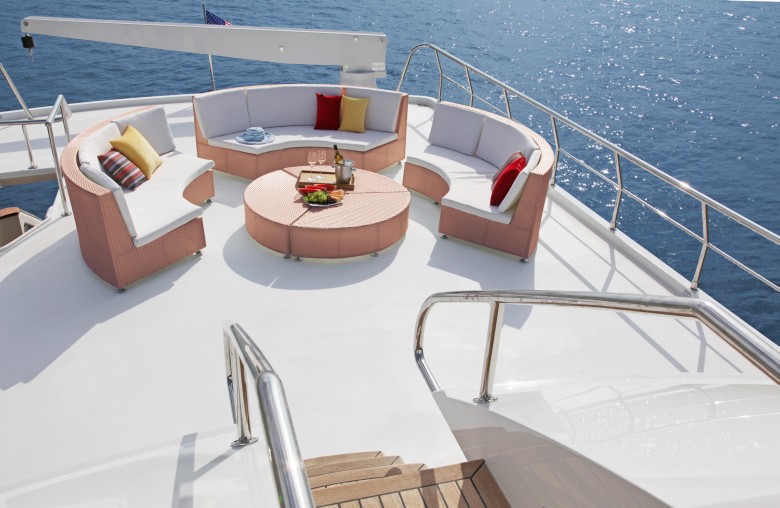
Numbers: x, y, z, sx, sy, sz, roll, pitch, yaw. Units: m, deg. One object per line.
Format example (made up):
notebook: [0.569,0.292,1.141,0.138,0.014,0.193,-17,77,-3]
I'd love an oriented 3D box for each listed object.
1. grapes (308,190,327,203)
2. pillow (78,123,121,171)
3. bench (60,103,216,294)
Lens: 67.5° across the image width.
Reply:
grapes: [-0.786,-0.624,6.437,0.160,0.104,0.152,-7,21,-21]
pillow: [-3.140,-1.143,6.320,0.239,0.219,0.726,25,38,-17]
bench: [-2.729,-0.764,6.474,1.369,1.148,2.253,-1,35,-10]
